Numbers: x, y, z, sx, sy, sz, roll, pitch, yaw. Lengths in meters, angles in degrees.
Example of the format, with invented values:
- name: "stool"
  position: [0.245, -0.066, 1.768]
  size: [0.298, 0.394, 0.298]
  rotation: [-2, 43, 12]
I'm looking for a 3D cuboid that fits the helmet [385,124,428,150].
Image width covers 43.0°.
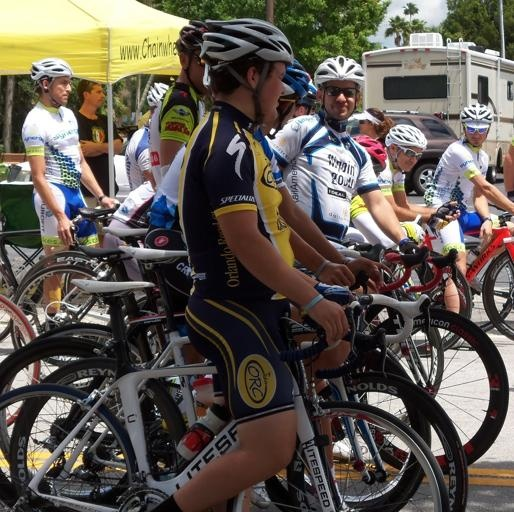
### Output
- name: "helmet"
  position: [1.449, -1.187, 6.449]
  size: [0.276, 0.148, 0.358]
  rotation: [0, 10, -34]

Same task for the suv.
- name: "suv"
  position: [3.786, -3.346, 20.330]
  size: [4.480, 2.005, 2.392]
  rotation: [3, 6, -8]

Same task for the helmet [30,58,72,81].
- name: "helmet"
  position: [-2.072, -1.858, 6.474]
  size: [0.398, 0.175, 0.248]
  rotation: [4, 13, 2]

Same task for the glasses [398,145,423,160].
- name: "glasses"
  position: [1.481, -1.027, 6.389]
  size: [0.158, 0.044, 0.152]
  rotation: [3, 18, -38]

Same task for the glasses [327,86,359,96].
- name: "glasses"
  position: [0.536, -1.059, 4.174]
  size: [0.121, 0.028, 0.106]
  rotation: [3, -5, -11]

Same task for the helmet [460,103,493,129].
- name: "helmet"
  position: [2.438, -1.535, 7.296]
  size: [0.324, 0.129, 0.411]
  rotation: [5, 30, 5]

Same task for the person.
- name: "person"
  position: [-0.090, 0.172, 2.384]
  size: [1.145, 2.017, 0.826]
  rotation: [-1, 13, -16]

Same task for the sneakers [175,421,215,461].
- name: "sneakers"
  position: [-0.230, 0.693, 2.462]
  size: [0.098, 0.175, 0.069]
  rotation: [49, 4, 25]

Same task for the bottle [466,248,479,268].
- name: "bottle"
  position: [2.324, 0.025, 7.080]
  size: [0.182, 0.192, 0.140]
  rotation: [3, 2, -14]
